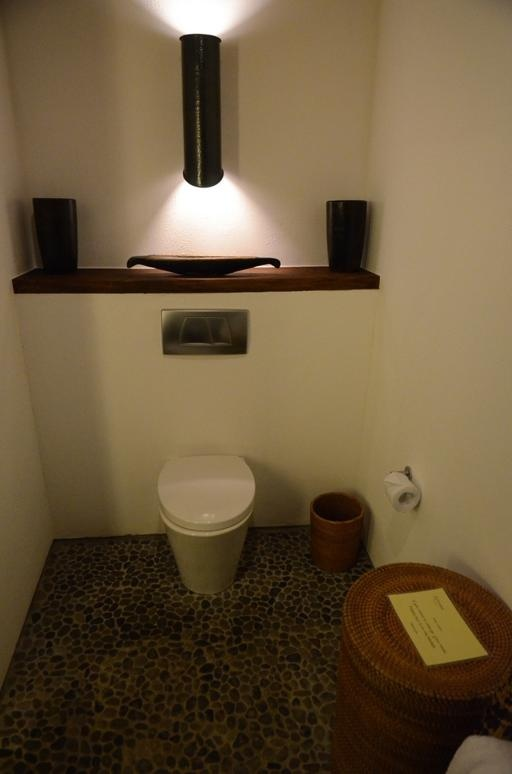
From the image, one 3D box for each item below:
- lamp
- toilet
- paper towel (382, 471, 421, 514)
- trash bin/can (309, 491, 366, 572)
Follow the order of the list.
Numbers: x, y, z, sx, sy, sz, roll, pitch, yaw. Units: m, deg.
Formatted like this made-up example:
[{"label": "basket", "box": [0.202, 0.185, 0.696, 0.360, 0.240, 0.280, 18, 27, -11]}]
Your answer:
[{"label": "lamp", "box": [-0.180, -0.916, 1.810, 0.135, 0.452, 0.067, -1, 22, -8]}, {"label": "toilet", "box": [-0.161, 0.484, 1.943, 0.315, 0.396, 0.443, 0, 26, -1]}, {"label": "paper towel", "box": [0.438, 0.319, 1.643, 0.097, 0.132, 0.135, 1, 24, -6]}, {"label": "trash bin/can", "box": [0.292, 0.534, 2.124, 0.235, 0.297, 0.265, 5, 32, 9]}]
